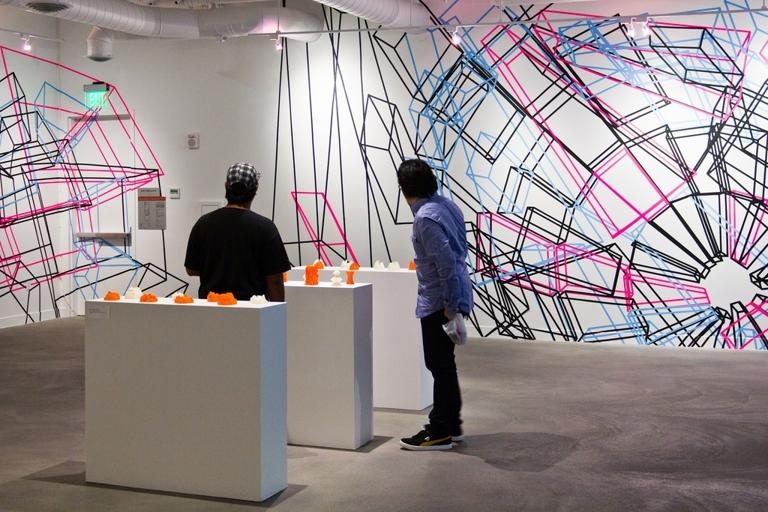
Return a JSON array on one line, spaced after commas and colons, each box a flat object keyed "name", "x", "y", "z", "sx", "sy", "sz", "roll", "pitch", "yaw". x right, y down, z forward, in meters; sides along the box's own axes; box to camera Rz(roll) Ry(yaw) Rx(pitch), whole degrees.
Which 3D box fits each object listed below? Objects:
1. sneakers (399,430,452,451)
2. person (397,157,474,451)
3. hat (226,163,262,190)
[{"name": "sneakers", "x": 0.307, "y": 1.342, "z": 4.050, "sx": 0.368, "sy": 0.151, "sz": 0.144, "roll": 2, "pitch": -5, "yaw": 2}, {"name": "person", "x": 0.363, "y": 0.345, "z": 3.936, "sx": 0.521, "sy": 2.117, "sz": 0.439, "roll": -1, "pitch": 1, "yaw": 8}, {"name": "hat", "x": -0.951, "y": -0.536, "z": 3.692, "sx": 0.177, "sy": 0.179, "sz": 0.232, "roll": 5, "pitch": 16, "yaw": 8}]
